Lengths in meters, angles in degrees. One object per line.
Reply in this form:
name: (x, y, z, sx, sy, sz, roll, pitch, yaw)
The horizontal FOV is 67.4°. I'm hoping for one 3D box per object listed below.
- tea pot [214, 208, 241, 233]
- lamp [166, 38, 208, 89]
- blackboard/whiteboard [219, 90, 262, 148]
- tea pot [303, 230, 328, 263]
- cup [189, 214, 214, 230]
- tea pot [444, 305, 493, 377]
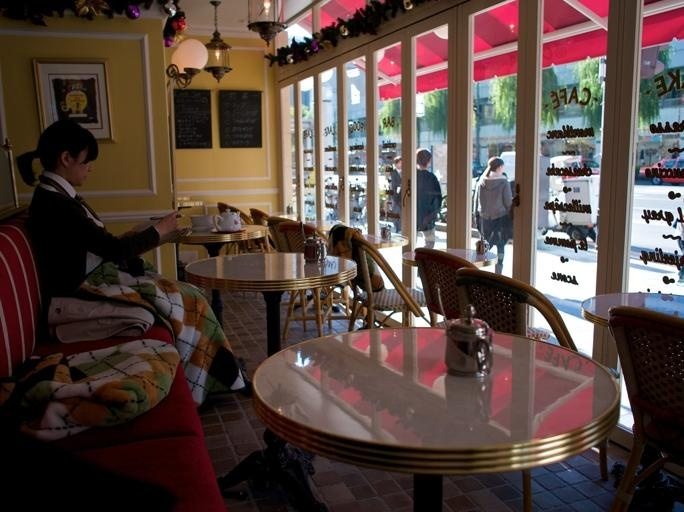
tea pot: (-0.921, -0.286, 4.211, 0.204, 0.153, 0.125, -10, 14, -41)
lamp: (-1.508, -1.888, 4.950, 0.316, 0.406, 0.425, -5, 9, -35)
blackboard/whiteboard: (-1.513, -2.051, 7.521, 0.726, 0.959, 0.101, -4, 11, -17)
tea pot: (-0.136, -0.041, 2.975, 0.174, 0.190, 0.103, 1, 2, -32)
cup: (-1.112, -0.271, 4.086, 0.136, 0.074, 0.117, 4, 8, 0)
tea pot: (0.307, 0.199, 1.246, 0.109, 0.160, 0.107, 1, 7, 0)
